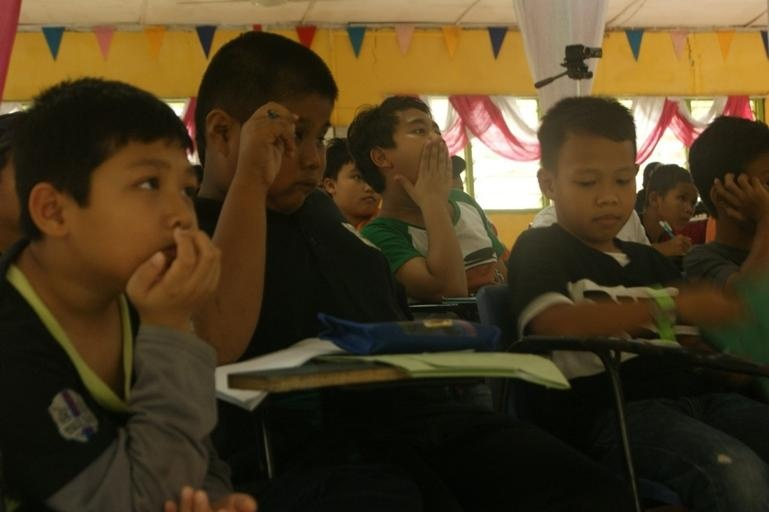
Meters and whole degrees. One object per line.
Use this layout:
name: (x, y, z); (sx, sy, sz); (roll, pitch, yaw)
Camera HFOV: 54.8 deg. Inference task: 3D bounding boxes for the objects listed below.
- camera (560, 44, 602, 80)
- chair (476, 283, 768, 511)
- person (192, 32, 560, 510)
camera: (1.105, -1.094, 4.250); (0.227, 0.204, 0.183); (-3, -5, -7)
chair: (0.562, 0.303, 1.907); (0.588, 0.599, 0.469); (-20, -17, 40)
person: (0.016, 0.110, 2.332); (1.097, 1.398, 0.913); (-17, -11, 34)
